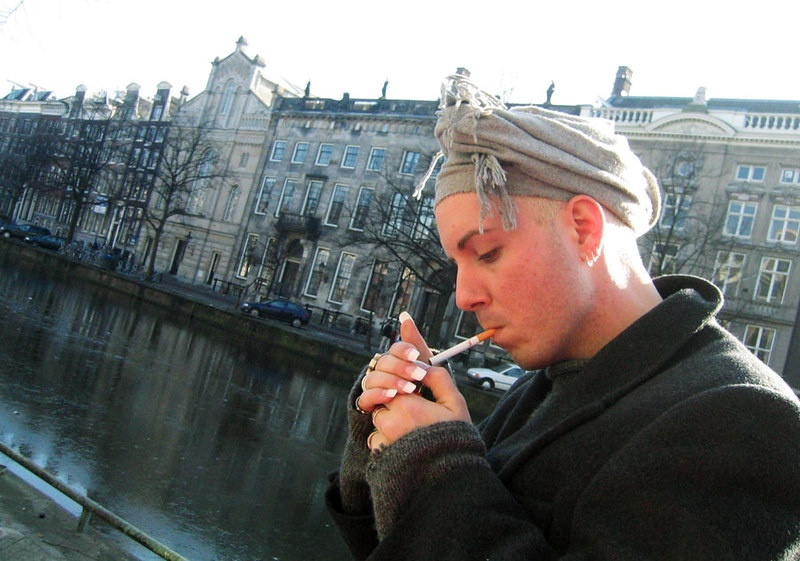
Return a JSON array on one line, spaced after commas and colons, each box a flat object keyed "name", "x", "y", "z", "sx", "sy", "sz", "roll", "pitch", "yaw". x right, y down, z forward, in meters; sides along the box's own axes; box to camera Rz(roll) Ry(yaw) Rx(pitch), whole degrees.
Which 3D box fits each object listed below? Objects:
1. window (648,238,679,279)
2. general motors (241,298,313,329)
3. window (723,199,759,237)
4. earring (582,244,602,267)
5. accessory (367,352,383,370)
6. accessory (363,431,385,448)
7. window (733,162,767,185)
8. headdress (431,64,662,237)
[{"name": "window", "x": 7.612, "y": -0.666, "z": 18.561, "sx": 1.242, "sy": 1.350, "sz": 0.099, "roll": 8, "pitch": 0, "yaw": -9}, {"name": "general motors", "x": -4.994, "y": 1.297, "z": 26.022, "sx": 2.560, "sy": 0.836, "sz": 1.147, "roll": 14, "pitch": -3, "yaw": -9}, {"name": "window", "x": 12.135, "y": -2.249, "z": 22.684, "sx": 1.116, "sy": 1.416, "sz": 0.206, "roll": 15, "pitch": 17, "yaw": 26}, {"name": "earring", "x": 0.648, "y": -0.082, "z": 2.163, "sx": 0.061, "sy": 0.078, "sz": 0.020, "roll": 6, "pitch": 2, "yaw": -18}, {"name": "accessory", "x": -0.088, "y": 0.288, "z": 2.249, "sx": 0.022, "sy": 0.069, "sz": 0.070, "roll": 24, "pitch": -10, "yaw": -3}, {"name": "accessory", "x": -0.080, "y": 0.535, "z": 2.132, "sx": 0.048, "sy": 0.035, "sz": 0.061, "roll": -4, "pitch": 7, "yaw": -2}, {"name": "window", "x": 12.313, "y": -3.761, "z": 22.395, "sx": 0.847, "sy": 0.564, "sz": 0.069, "roll": 3, "pitch": 8, "yaw": 28}, {"name": "headdress", "x": 0.515, "y": -0.408, "z": 2.303, "sx": 0.708, "sy": 0.466, "sz": 0.616, "roll": 0, "pitch": -1, "yaw": 32}]
